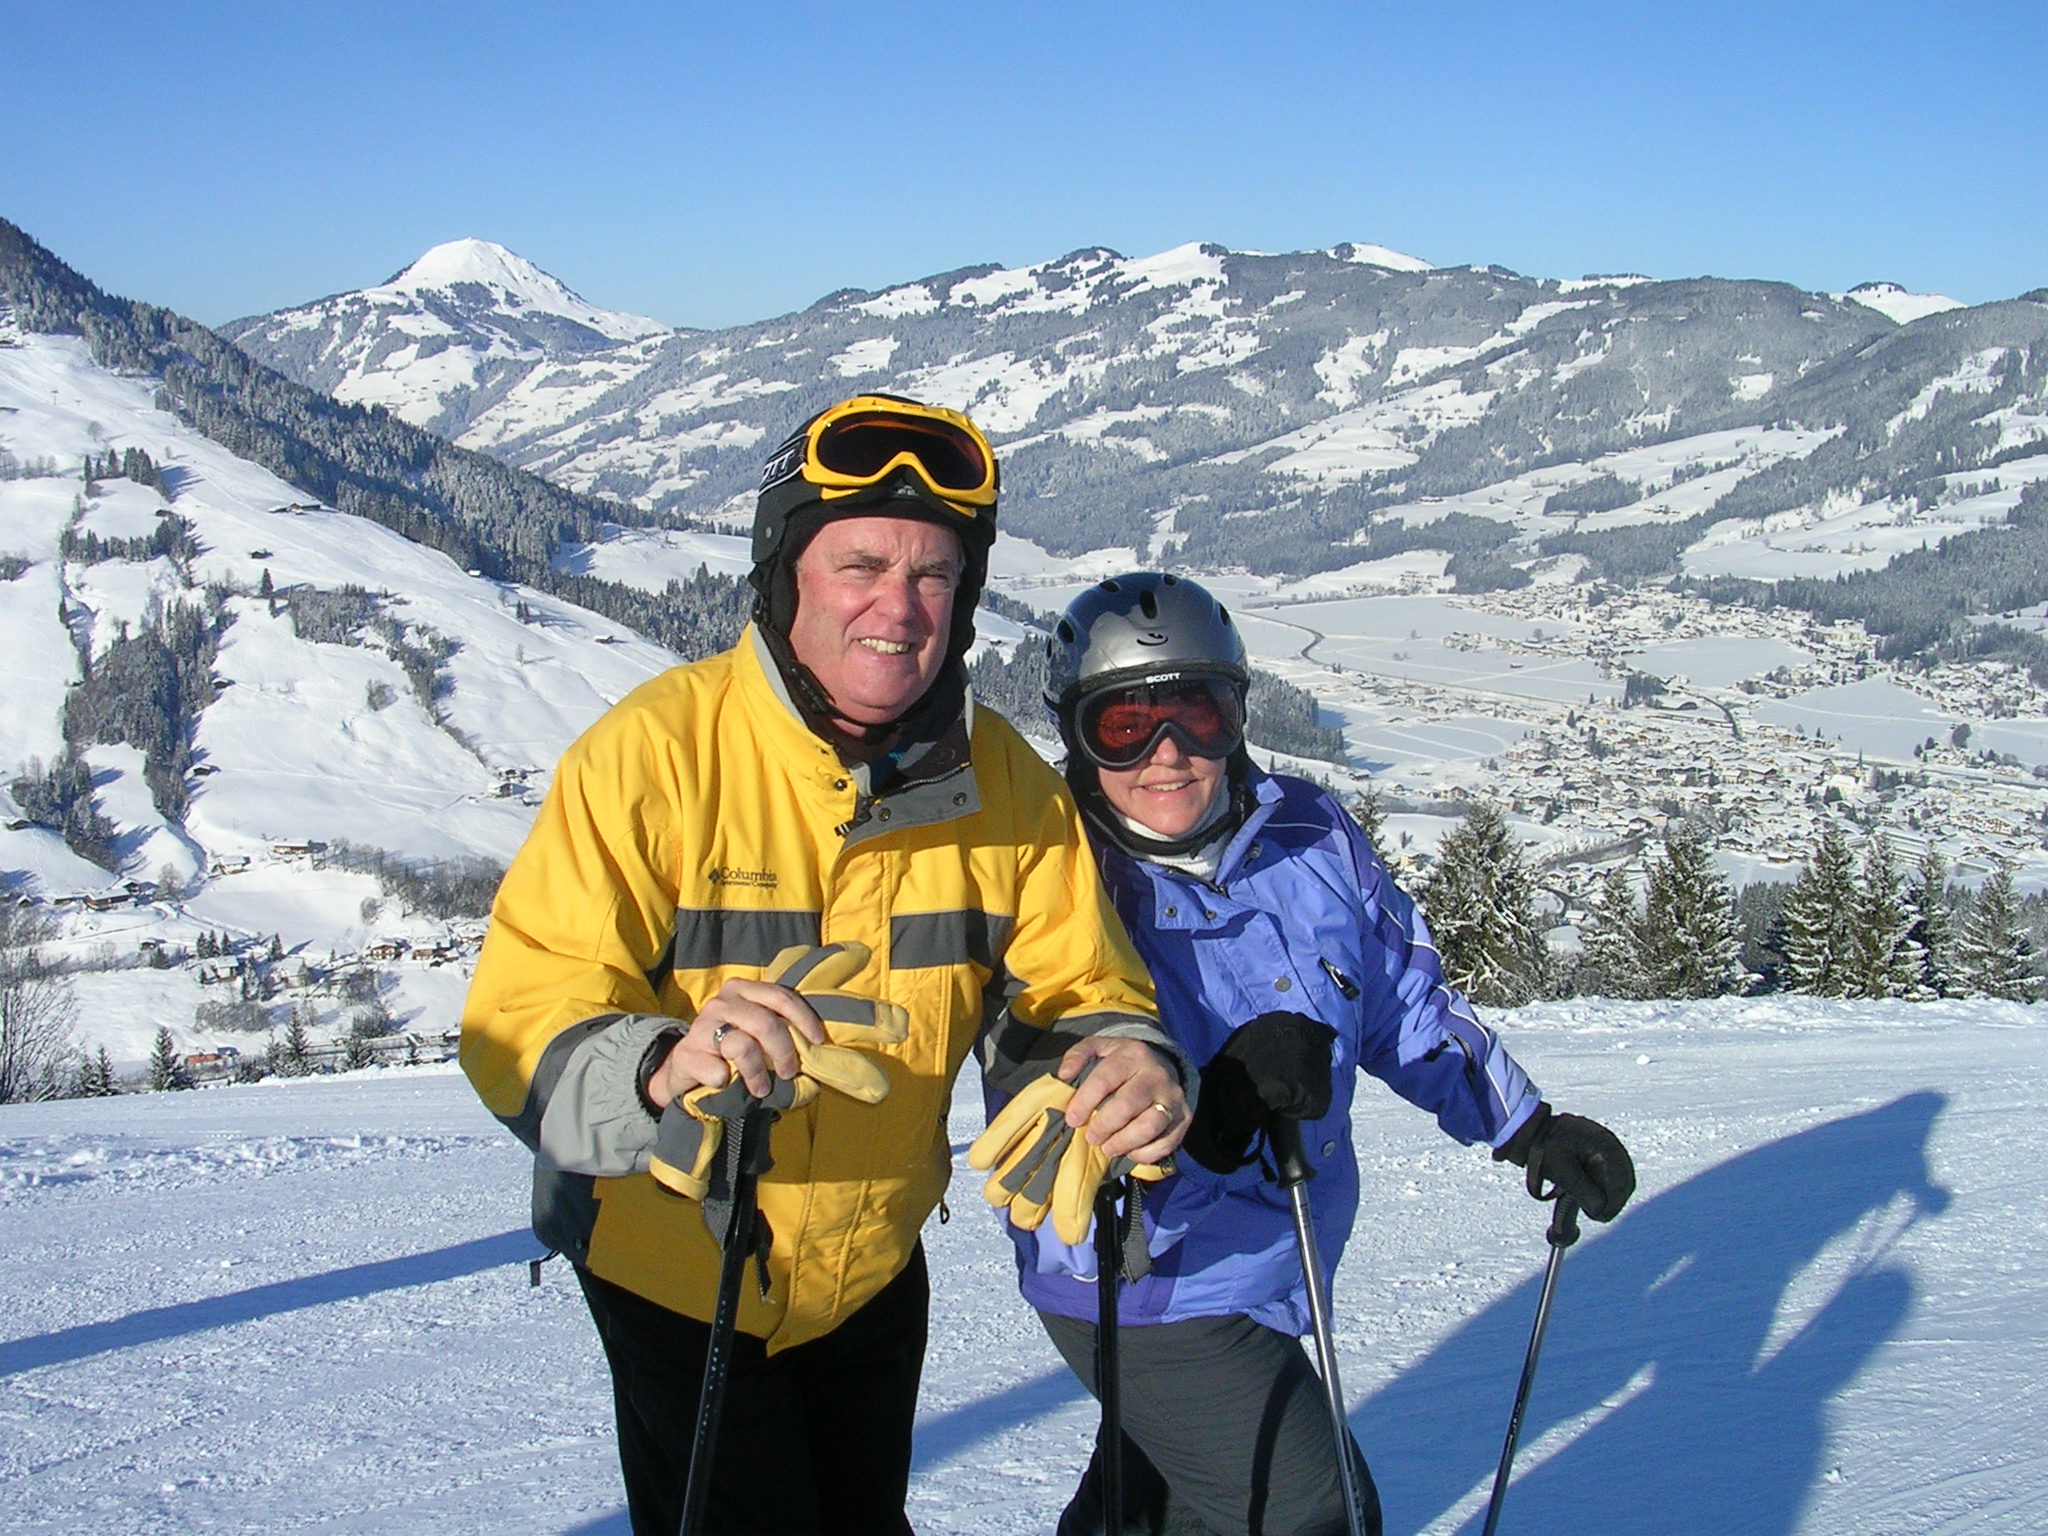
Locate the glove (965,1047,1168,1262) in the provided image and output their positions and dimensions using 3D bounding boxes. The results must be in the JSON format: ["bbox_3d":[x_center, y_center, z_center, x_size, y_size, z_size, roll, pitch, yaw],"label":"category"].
[{"bbox_3d":[0.167,1.676,8.954,0.794,0.796,0.502,-1,-3,-2],"label":"glove"}]

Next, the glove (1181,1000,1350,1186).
[{"bbox_3d":[1.130,1.506,9.743,0.794,0.584,0.341,-35,-3,0],"label":"glove"}]
